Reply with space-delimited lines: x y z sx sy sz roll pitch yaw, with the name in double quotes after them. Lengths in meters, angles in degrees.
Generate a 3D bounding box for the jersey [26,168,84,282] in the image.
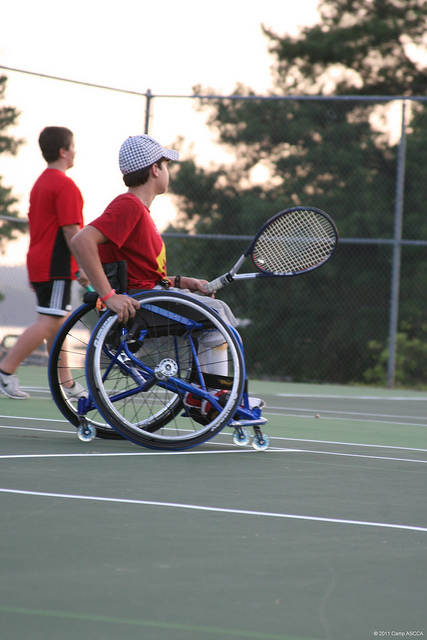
-0.900 -0.537 4.056 0.311 0.507 0.227 2 -1 -3 "jersey"

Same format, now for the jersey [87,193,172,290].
-0.322 -0.294 3.009 0.393 0.419 0.557 1 -9 -2 "jersey"

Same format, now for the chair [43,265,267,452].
-0.195 0.031 2.936 0.912 0.862 0.704 5 10 3 "chair"

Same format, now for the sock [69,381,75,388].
-0.799 0.366 4.079 0.036 0.022 0.008 0 -2 44 "sock"

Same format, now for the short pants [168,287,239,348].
-0.085 0.002 2.851 0.324 0.244 0.172 -1 3 -18 "short pants"

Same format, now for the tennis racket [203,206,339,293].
0.255 -0.308 3.230 0.562 0.413 0.425 2 -1 6 "tennis racket"

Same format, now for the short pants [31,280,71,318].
-0.936 -0.092 4.132 0.213 0.300 0.251 -1 -2 -20 "short pants"
